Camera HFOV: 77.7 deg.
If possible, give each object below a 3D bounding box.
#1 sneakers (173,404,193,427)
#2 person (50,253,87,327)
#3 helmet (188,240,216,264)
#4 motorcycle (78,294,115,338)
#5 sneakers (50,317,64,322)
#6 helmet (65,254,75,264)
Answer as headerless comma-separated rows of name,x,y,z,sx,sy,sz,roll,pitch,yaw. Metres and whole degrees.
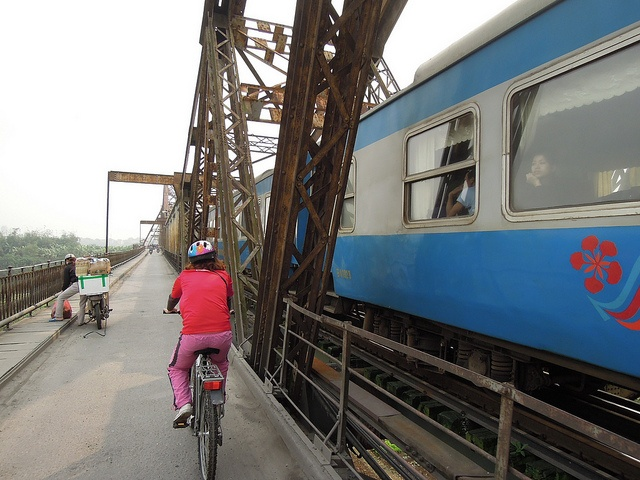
sneakers,-1.447,1.823,4.162,0.100,0.128,0.295,15,-53,-25
person,-6.397,1.232,10.042,0.739,1.584,1.422,0,0,-35
helmet,-1.381,0.131,4.604,0.201,0.244,0.300,-2,-29,-13
motorcycle,-5.504,1.789,9.837,0.628,0.904,1.309,-1,-8,-24
sneakers,-6.581,1.966,9.814,0.311,0.081,0.167,0,0,2
helmet,-6.629,0.491,10.467,0.206,0.259,0.261,4,-11,-40
